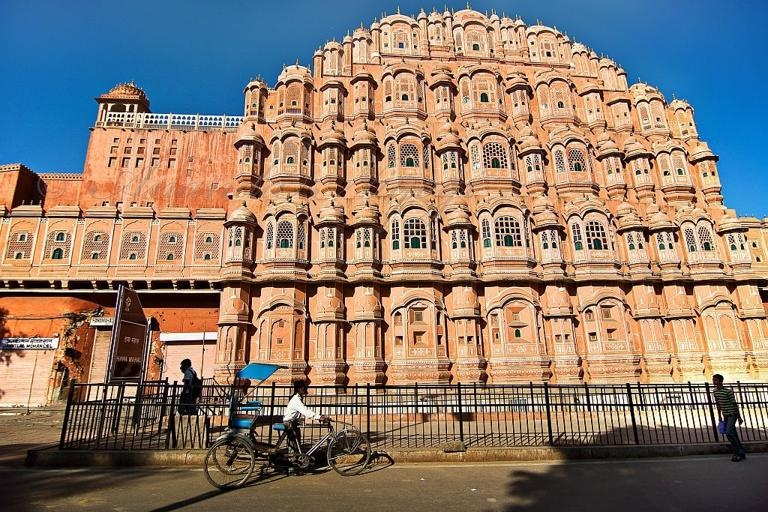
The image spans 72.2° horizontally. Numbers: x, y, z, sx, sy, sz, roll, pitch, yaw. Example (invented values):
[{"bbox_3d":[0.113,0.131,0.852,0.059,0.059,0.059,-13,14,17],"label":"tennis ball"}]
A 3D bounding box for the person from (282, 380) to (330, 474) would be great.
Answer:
[{"bbox_3d":[-2.709,5.539,17.502,1.246,2.911,1.170,-1,7,-9],"label":"person"}]

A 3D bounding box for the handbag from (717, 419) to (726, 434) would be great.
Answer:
[{"bbox_3d":[11.661,5.852,18.146,0.213,0.433,0.399,4,8,33],"label":"handbag"}]

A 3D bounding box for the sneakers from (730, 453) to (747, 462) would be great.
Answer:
[{"bbox_3d":[12.224,6.897,18.111,0.627,0.237,0.202,14,-24,-25],"label":"sneakers"}]
